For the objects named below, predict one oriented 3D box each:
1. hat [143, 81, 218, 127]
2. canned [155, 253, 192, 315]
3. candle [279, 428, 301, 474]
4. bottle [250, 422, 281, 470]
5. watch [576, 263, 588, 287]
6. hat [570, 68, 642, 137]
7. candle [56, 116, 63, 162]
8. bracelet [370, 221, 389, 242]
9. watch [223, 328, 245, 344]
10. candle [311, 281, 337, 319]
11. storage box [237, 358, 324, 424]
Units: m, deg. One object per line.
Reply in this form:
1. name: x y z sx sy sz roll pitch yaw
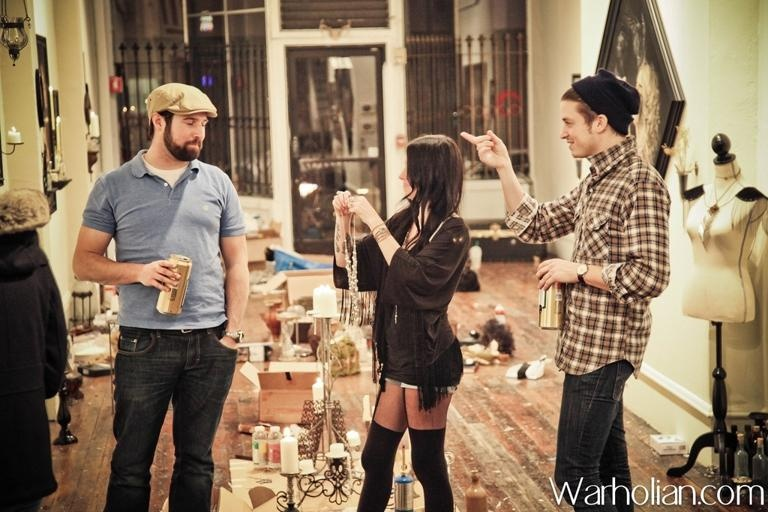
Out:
1. hat: -0.989 -0.744 3.534 0.268 0.132 0.199 -4 17 -3
2. canned: -0.991 0.139 3.423 0.163 0.291 0.116 -3 7 -18
3. candle: -0.496 1.046 3.805 0.083 0.184 0.064 2 7 14
4. bottle: -0.731 1.179 4.558 0.187 0.244 0.176 0 7 0
5. watch: 0.895 0.083 3.297 0.055 0.093 0.090 12 -14 19
6. hat: 1.016 -0.708 3.359 0.318 0.180 0.235 36 22 3
7. candle: -2.829 -0.992 6.310 0.050 0.416 0.196 -4 8 -30
8. bracelet: -0.011 -0.117 3.529 0.083 0.082 0.079 -3 -12 31
9. watch: -0.748 0.399 3.622 0.087 0.056 0.088 -4 -18 25
10. candle: -0.346 0.271 4.573 0.179 0.210 0.183 -4 9 -21
11. storage box: -0.769 0.983 5.397 0.512 0.372 0.506 0 -3 -3
